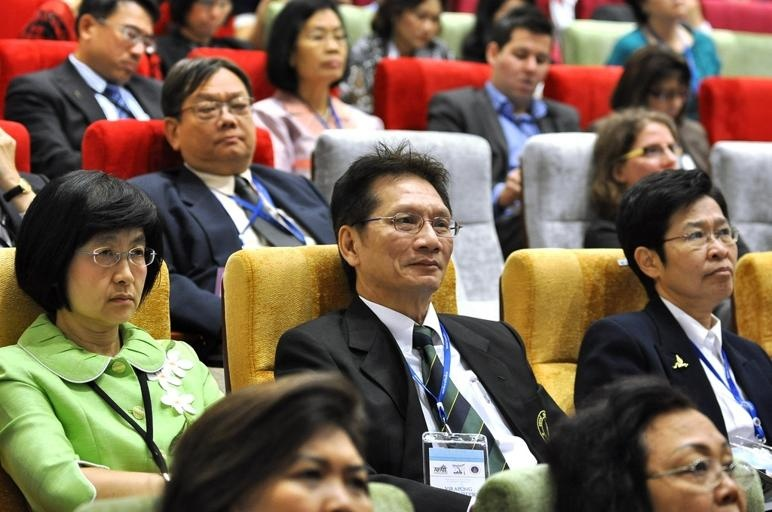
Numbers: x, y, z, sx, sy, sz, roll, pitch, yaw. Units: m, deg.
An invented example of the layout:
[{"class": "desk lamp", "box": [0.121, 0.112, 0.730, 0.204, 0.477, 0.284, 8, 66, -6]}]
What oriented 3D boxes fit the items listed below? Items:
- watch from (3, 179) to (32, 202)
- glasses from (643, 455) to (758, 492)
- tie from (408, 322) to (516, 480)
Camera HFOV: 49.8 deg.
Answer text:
[{"class": "watch", "box": [-1.763, -0.312, 3.956, 0.094, 0.061, 0.101, -29, -7, -11]}, {"class": "glasses", "box": [0.812, 0.573, 2.181, 0.179, 0.070, 0.174, -12, -14, 19]}, {"class": "tie", "box": [0.244, 0.499, 3.021, 0.187, 0.704, 0.087, -2, -38, -30]}]
